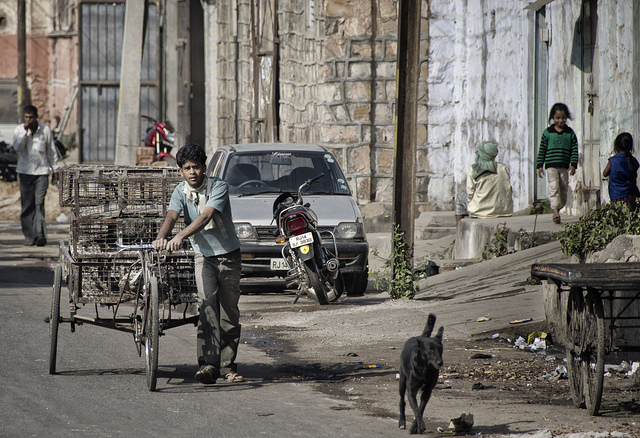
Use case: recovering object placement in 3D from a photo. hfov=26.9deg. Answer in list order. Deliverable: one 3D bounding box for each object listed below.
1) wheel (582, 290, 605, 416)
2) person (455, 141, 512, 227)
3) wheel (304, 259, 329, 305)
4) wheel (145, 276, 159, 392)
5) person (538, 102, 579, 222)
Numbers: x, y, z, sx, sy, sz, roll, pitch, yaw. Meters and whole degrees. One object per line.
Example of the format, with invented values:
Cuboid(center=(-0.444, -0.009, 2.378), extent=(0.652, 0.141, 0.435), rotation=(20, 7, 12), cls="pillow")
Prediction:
Cuboid(center=(3.395, 1.641, 16.547), extent=(0.188, 1.525, 0.434), rotation=(0, 1, -13), cls="wheel")
Cuboid(center=(3.222, -0.592, 26.500), extent=(1.091, 1.807, 1.389), rotation=(-1, 5, 1), cls="person")
Cuboid(center=(-0.047, 0.988, 21.250), extent=(0.237, 0.704, 0.414), rotation=(2, 1, 41), cls="wheel")
Cuboid(center=(-2.174, 1.476, 17.257), extent=(0.174, 1.467, 0.484), rotation=(1, 1, -8), cls="wheel")
Cuboid(center=(4.413, -1.024, 24.738), extent=(0.755, 2.065, 0.767), rotation=(0, 1, 22), cls="person")
